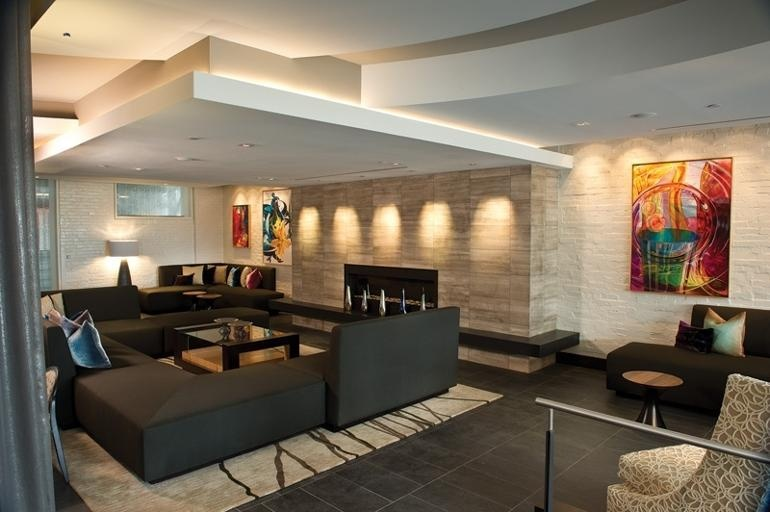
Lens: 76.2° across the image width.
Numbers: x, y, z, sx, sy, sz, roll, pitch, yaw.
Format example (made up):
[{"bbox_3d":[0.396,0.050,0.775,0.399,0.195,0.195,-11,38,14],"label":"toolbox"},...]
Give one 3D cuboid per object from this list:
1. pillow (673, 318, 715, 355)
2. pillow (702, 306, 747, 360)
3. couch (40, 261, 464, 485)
[{"bbox_3d":[3.685,0.975,5.816,0.184,0.347,0.435,18,-7,-34],"label":"pillow"},{"bbox_3d":[3.912,0.917,5.633,0.268,0.566,0.586,12,-6,-35],"label":"pillow"},{"bbox_3d":[-1.709,1.209,5.215,2.680,0.728,2.302,-1,3,-41],"label":"couch"}]
